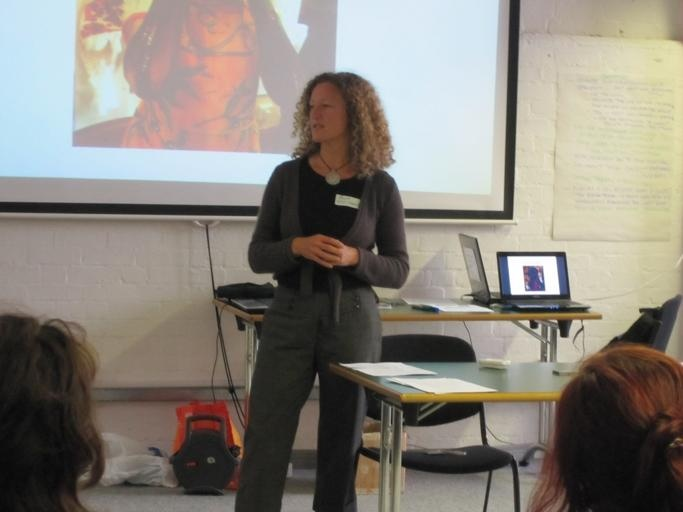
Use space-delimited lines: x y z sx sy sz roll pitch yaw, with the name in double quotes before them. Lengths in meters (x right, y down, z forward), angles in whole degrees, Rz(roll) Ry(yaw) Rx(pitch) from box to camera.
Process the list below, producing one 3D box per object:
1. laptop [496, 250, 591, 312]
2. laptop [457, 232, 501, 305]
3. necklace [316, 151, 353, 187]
"laptop" 1.008 0.121 3.769 0.396 0.329 0.289 0 -3 -6
"laptop" 0.702 0.058 3.872 0.306 0.325 0.398 -4 4 -11
"necklace" -0.026 -0.320 2.657 0.180 0.023 0.216 1 42 -6
